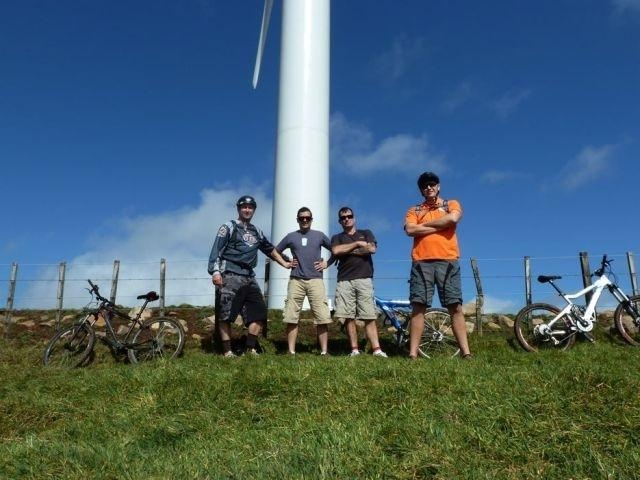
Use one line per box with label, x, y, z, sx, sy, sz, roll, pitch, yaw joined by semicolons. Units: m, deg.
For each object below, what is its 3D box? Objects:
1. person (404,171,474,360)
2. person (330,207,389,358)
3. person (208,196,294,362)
person;1.800;0.364;6.919;0.921;2.906;0.552;-3;-3;15
person;0.641;0.712;7.649;0.832;2.606;0.779;-3;-3;1
person;-1.369;0.588;7.847;1.173;2.753;0.682;-2;-3;-15
